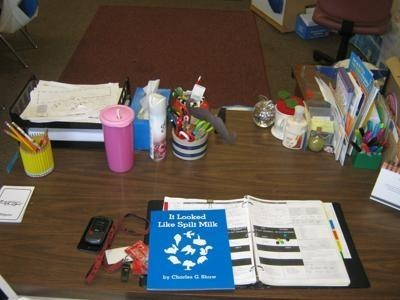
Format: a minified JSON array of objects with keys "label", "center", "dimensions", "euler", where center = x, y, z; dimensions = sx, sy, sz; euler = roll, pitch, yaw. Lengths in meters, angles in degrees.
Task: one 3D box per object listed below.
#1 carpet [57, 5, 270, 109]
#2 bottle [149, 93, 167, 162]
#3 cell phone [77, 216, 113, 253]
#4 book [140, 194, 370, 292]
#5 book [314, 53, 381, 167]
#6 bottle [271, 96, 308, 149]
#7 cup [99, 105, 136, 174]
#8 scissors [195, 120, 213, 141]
[{"label":"carpet","center":[-0.217,-0.604,2.149],"dimensions":[0.944,0.234,0.931],"euler":[3,44,2]},{"label":"bottle","center":[-0.163,-0.084,1.266],"dimensions":[0.081,0.319,0.086],"euler":[2,38,-2]},{"label":"cell phone","center":[-0.346,0.270,1.097],"dimensions":[0.086,0.026,0.131],"euler":[10,47,8]},{"label":"book","center":[0.305,0.293,1.100],"dimensions":[0.425,0.033,0.308],"euler":[1,47,0]},{"label":"book","center":[0.594,-0.143,1.424],"dimensions":[0.143,0.431,0.318],"euler":[10,42,-6]},{"label":"bottle","center":[0.350,-0.133,1.433],"dimensions":[0.134,0.218,0.224],"euler":[0,40,6]},{"label":"cup","center":[-0.308,-0.037,1.244],"dimensions":[0.124,0.235,0.128],"euler":[4,38,-3]},{"label":"scissors","center":[0.010,-0.078,1.307],"dimensions":[0.049,0.027,0.066],"euler":[14,33,4]}]
